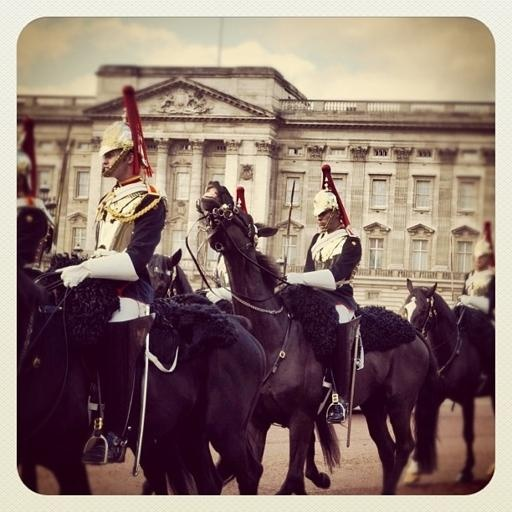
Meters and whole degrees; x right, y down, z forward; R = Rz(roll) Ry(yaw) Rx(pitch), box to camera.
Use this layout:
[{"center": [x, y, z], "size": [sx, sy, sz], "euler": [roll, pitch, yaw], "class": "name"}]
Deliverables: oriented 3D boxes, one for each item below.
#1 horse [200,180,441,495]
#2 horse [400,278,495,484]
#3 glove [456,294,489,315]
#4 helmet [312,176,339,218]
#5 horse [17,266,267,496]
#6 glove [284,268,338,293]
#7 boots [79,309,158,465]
[{"center": [0.606, 0.976, 6.671], "size": [3.428, 2.434, 0.868], "euler": [18, -15, -41], "class": "horse"}, {"center": [2.456, 1.399, 8.767], "size": [0.691, 1.729, 2.459], "euler": [-5, -12, 43], "class": "horse"}, {"center": [2.498, 0.533, 8.690], "size": [0.321, 0.111, 0.322], "euler": [2, 16, 11], "class": "glove"}, {"center": [0.623, -0.526, 7.216], "size": [0.186, 0.261, 0.290], "euler": [-3, 8, 31], "class": "helmet"}, {"center": [-0.820, 1.008, 5.329], "size": [2.351, 1.554, 0.658], "euler": [2, -7, 22], "class": "horse"}, {"center": [0.496, 0.206, 6.496], "size": [0.259, 0.220, 0.108], "euler": [6, -1, -20], "class": "glove"}, {"center": [-0.881, 0.831, 4.833], "size": [0.388, 0.953, 0.192], "euler": [4, -8, -13], "class": "boots"}]
